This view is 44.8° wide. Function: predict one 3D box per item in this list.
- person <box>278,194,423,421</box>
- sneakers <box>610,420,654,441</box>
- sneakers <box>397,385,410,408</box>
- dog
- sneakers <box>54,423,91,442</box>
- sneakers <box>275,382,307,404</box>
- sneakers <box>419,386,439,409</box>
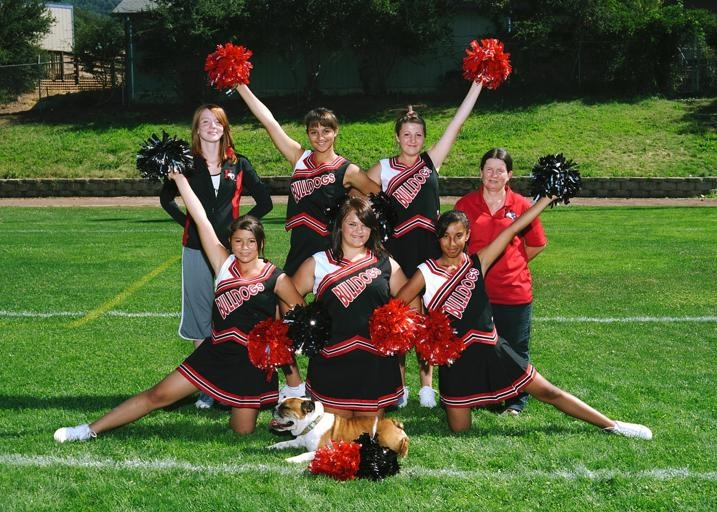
[{"bbox_3d":[-0.068,0.783,8.479,1.295,2.615,1.018,5,24,16],"label":"person"},{"bbox_3d":[2.624,1.658,8.303,0.353,0.115,0.169,4,-3,16],"label":"sneakers"},{"bbox_3d":[0.470,1.444,8.991,0.087,0.097,0.280,1,36,14],"label":"sneakers"},{"bbox_3d":[-0.184,1.585,7.975,1.170,0.456,0.597,1,-9,-4],"label":"dog"},{"bbox_3d":[-2.703,1.664,8.192,0.256,0.098,0.161,1,-2,-16],"label":"sneakers"},{"bbox_3d":[-0.673,1.398,8.819,0.346,0.146,0.137,-1,1,-3],"label":"sneakers"},{"bbox_3d":[0.724,1.475,8.988,0.183,0.158,0.374,-2,-7,6],"label":"sneakers"}]
